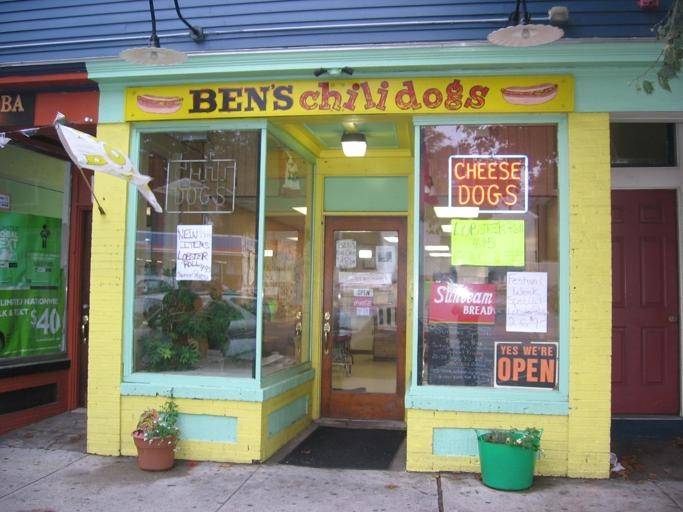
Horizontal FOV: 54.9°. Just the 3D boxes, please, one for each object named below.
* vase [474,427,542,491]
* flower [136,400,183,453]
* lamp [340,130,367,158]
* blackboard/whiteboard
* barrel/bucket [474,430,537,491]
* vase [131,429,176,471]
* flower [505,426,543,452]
[{"bbox_3d":[1.575,1.923,6.294,0.599,0.450,0.541,3,-10,-22],"label":"vase"},{"bbox_3d":[-1.877,1.726,6.732,0.399,0.292,0.448,5,8,-7],"label":"flower"},{"bbox_3d":[0.148,-1.304,7.656,0.308,0.262,0.284,0,7,0],"label":"lamp"},{"bbox_3d":[1.242,1.016,6.665,0.702,0.740,0.084,1,-1,2],"label":"blackboard/whiteboard"},{"bbox_3d":[1.568,1.926,6.252,0.581,0.397,0.531,1,-8,0],"label":"barrel/bucket"},{"bbox_3d":[-1.883,1.989,6.764,0.497,0.334,0.497,0,-5,-35],"label":"vase"},{"bbox_3d":[1.773,1.723,6.275,0.283,0.097,0.287,-1,-4,37],"label":"flower"}]
